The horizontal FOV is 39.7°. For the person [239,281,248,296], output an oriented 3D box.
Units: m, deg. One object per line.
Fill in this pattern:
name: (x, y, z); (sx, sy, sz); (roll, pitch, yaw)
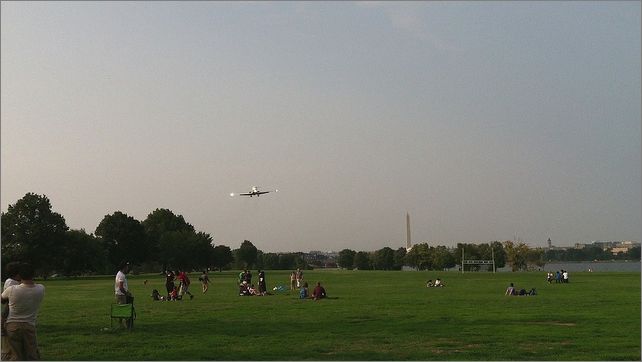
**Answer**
person: (-10.990, 15.725, 128.075); (1.234, 1.430, 2.633); (3, -2, -7)
